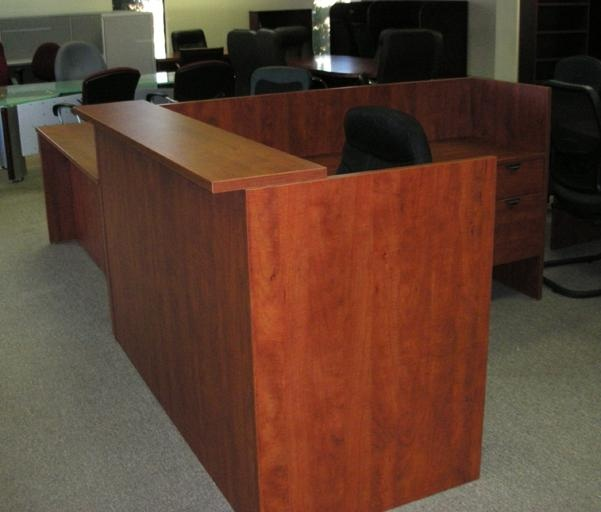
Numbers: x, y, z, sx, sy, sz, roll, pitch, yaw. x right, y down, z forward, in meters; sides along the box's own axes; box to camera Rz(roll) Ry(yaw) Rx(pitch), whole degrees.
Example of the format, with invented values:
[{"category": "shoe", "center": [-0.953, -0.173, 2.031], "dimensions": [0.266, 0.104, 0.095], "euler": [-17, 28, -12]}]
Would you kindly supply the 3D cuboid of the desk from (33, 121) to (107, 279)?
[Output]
[{"category": "desk", "center": [-1.358, -0.342, 3.479], "dimensions": [0.334, 0.799, 0.878], "euler": [-11, 25, -32]}]
